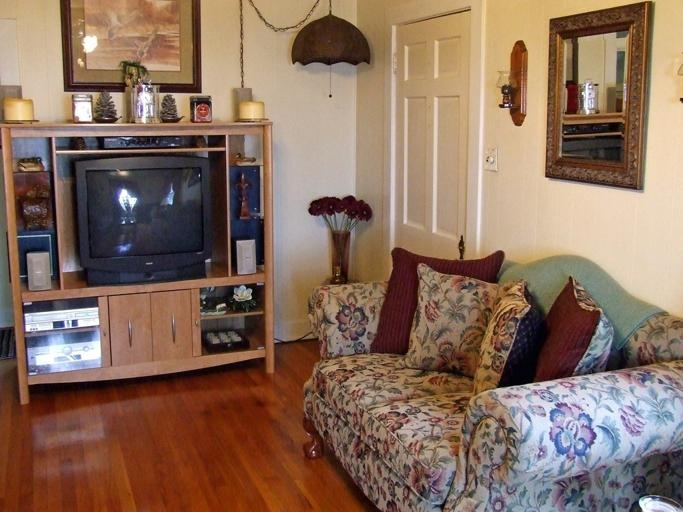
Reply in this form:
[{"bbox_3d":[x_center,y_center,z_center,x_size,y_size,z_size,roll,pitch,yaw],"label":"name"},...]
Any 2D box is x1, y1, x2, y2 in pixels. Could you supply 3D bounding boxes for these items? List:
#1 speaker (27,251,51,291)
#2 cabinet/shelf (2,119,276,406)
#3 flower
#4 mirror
[{"bbox_3d":[-1.920,0.095,3.630,0.143,0.237,0.101,-8,15,-31],"label":"speaker"},{"bbox_3d":[-1.377,0.039,3.800,1.671,1.728,0.558,-3,5,-22],"label":"cabinet/shelf"},{"bbox_3d":[-0.011,-0.258,4.604,0.520,0.671,0.524,8,13,43],"label":"flower"},{"bbox_3d":[1.149,-0.711,2.595,0.082,0.757,0.570,-5,14,-21],"label":"mirror"}]
